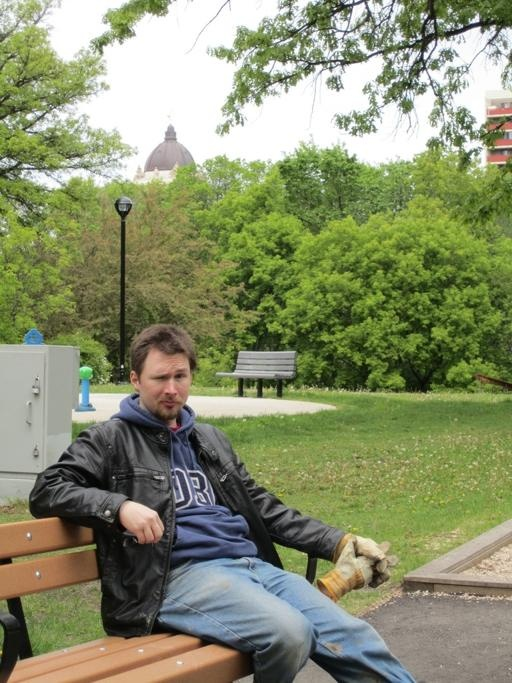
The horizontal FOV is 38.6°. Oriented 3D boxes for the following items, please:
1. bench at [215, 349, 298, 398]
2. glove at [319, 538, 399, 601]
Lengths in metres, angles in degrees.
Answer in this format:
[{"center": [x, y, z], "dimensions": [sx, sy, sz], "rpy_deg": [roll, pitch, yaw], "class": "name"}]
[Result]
[{"center": [-0.013, 0.837, 18.156], "dimensions": [2.067, 1.094, 0.853], "rpy_deg": [0, 2, 44], "class": "bench"}, {"center": [0.378, 0.814, 2.625], "dimensions": [0.189, 0.257, 0.155], "rpy_deg": [27, 20, 29], "class": "glove"}]
